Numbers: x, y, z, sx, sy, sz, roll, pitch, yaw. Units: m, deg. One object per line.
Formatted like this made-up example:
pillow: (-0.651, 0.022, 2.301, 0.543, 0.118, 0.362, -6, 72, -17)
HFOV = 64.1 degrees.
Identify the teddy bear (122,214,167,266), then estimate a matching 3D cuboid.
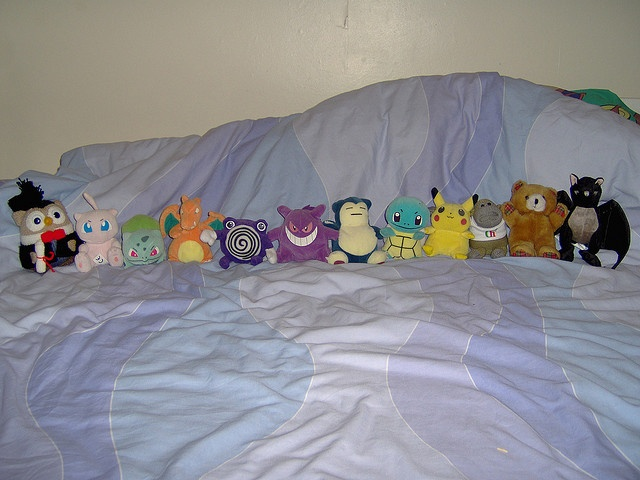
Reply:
teddy bear: (-0.754, 0.009, 2.168, 0.143, 0.149, 0.250, -4, 56, -13)

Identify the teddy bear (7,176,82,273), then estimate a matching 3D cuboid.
teddy bear: (-1.199, -0.068, 2.194, 0.292, 0.372, 0.206, 8, 14, 39)

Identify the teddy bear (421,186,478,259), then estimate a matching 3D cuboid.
teddy bear: (0.534, -0.074, 2.301, 0.248, 0.372, 0.250, 7, 0, 15)

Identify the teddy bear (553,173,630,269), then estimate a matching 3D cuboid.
teddy bear: (1.152, -0.085, 2.147, 0.289, 0.364, 0.199, 5, 12, 26)

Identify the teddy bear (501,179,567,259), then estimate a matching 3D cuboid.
teddy bear: (0.877, -0.084, 2.270, 0.312, 0.428, 0.275, 3, -2, 8)
